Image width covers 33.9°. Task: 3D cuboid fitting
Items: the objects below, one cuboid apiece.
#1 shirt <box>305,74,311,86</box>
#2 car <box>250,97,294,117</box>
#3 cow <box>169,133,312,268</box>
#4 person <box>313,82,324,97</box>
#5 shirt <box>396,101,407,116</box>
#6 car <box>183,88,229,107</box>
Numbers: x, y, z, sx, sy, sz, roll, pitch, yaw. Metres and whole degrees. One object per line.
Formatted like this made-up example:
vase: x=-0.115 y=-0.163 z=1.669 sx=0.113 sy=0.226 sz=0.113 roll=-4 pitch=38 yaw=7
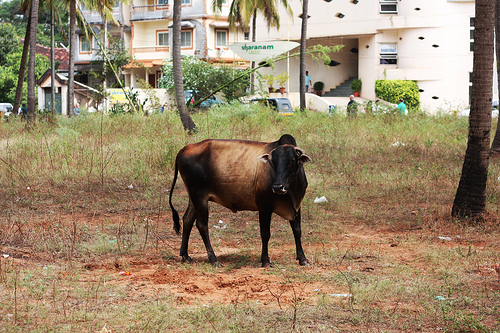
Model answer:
shirt: x=3.721 y=-5.601 z=53.479 sx=0.538 sy=0.726 sz=0.289 roll=-3 pitch=27 yaw=0
car: x=1.581 y=-3.157 z=43.438 sx=1.919 sy=1.044 sz=1.272 roll=15 pitch=15 yaw=38
cow: x=-0.238 y=1.118 z=26.398 sx=6.018 sy=4.388 sz=2.478 roll=4 pitch=8 yaw=37
person: x=4.406 y=-5.090 z=54.239 sx=0.728 sy=1.200 sz=0.745 roll=0 pitch=-3 yaw=-20
shirt: x=7.538 y=-2.875 z=41.218 sx=0.466 sy=0.413 sz=0.782 roll=-3 pitch=-14 yaw=11
car: x=-2.466 y=-3.908 z=46.620 sx=2.637 sy=1.445 sz=1.631 roll=-7 pitch=11 yaw=-30
